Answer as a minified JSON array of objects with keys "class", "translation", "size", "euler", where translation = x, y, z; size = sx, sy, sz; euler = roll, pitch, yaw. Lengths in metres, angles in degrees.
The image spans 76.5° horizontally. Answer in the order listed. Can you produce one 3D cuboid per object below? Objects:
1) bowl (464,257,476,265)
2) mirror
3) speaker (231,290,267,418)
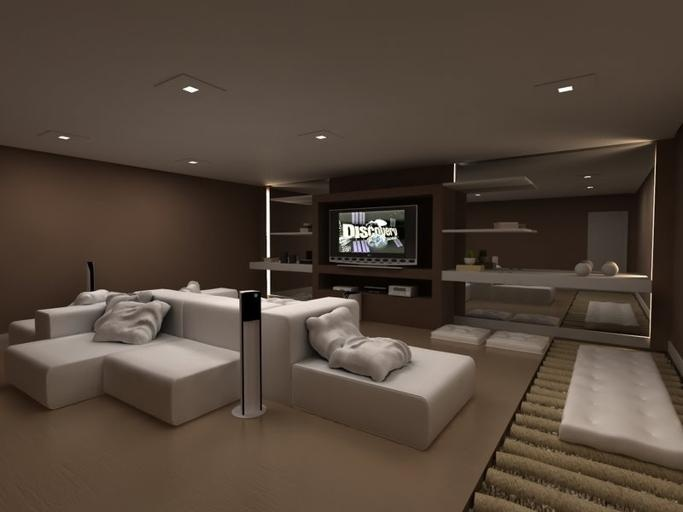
[{"class":"bowl","translation":[1.735,0.060,5.864],"size":[0.102,0.065,0.095],"euler":[1,2,0]},{"class":"mirror","translation":[2.648,0.635,5.401],"size":[1.942,0.512,0.161],"euler":[3,4,32]},{"class":"speaker","translation":[-0.716,0.755,3.384],"size":[0.258,0.977,0.165],"euler":[1,4,-14]}]
